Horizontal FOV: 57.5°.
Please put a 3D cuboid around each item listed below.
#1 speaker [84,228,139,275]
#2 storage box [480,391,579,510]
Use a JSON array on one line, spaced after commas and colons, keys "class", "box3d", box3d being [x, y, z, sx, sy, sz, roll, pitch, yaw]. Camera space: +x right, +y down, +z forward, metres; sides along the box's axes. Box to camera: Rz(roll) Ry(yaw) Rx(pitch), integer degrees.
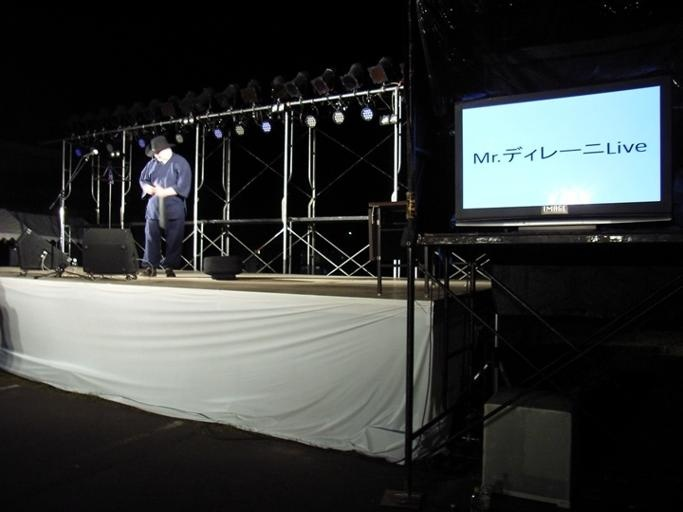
[{"class": "speaker", "box3d": [-2.037, -0.043, 5.499, 0.458, 0.427, 0.266, 4, -4, -23]}, {"class": "storage box", "box3d": [1.141, 1.099, 3.712, 0.471, 0.569, 0.545, 0, 0, 25]}]
